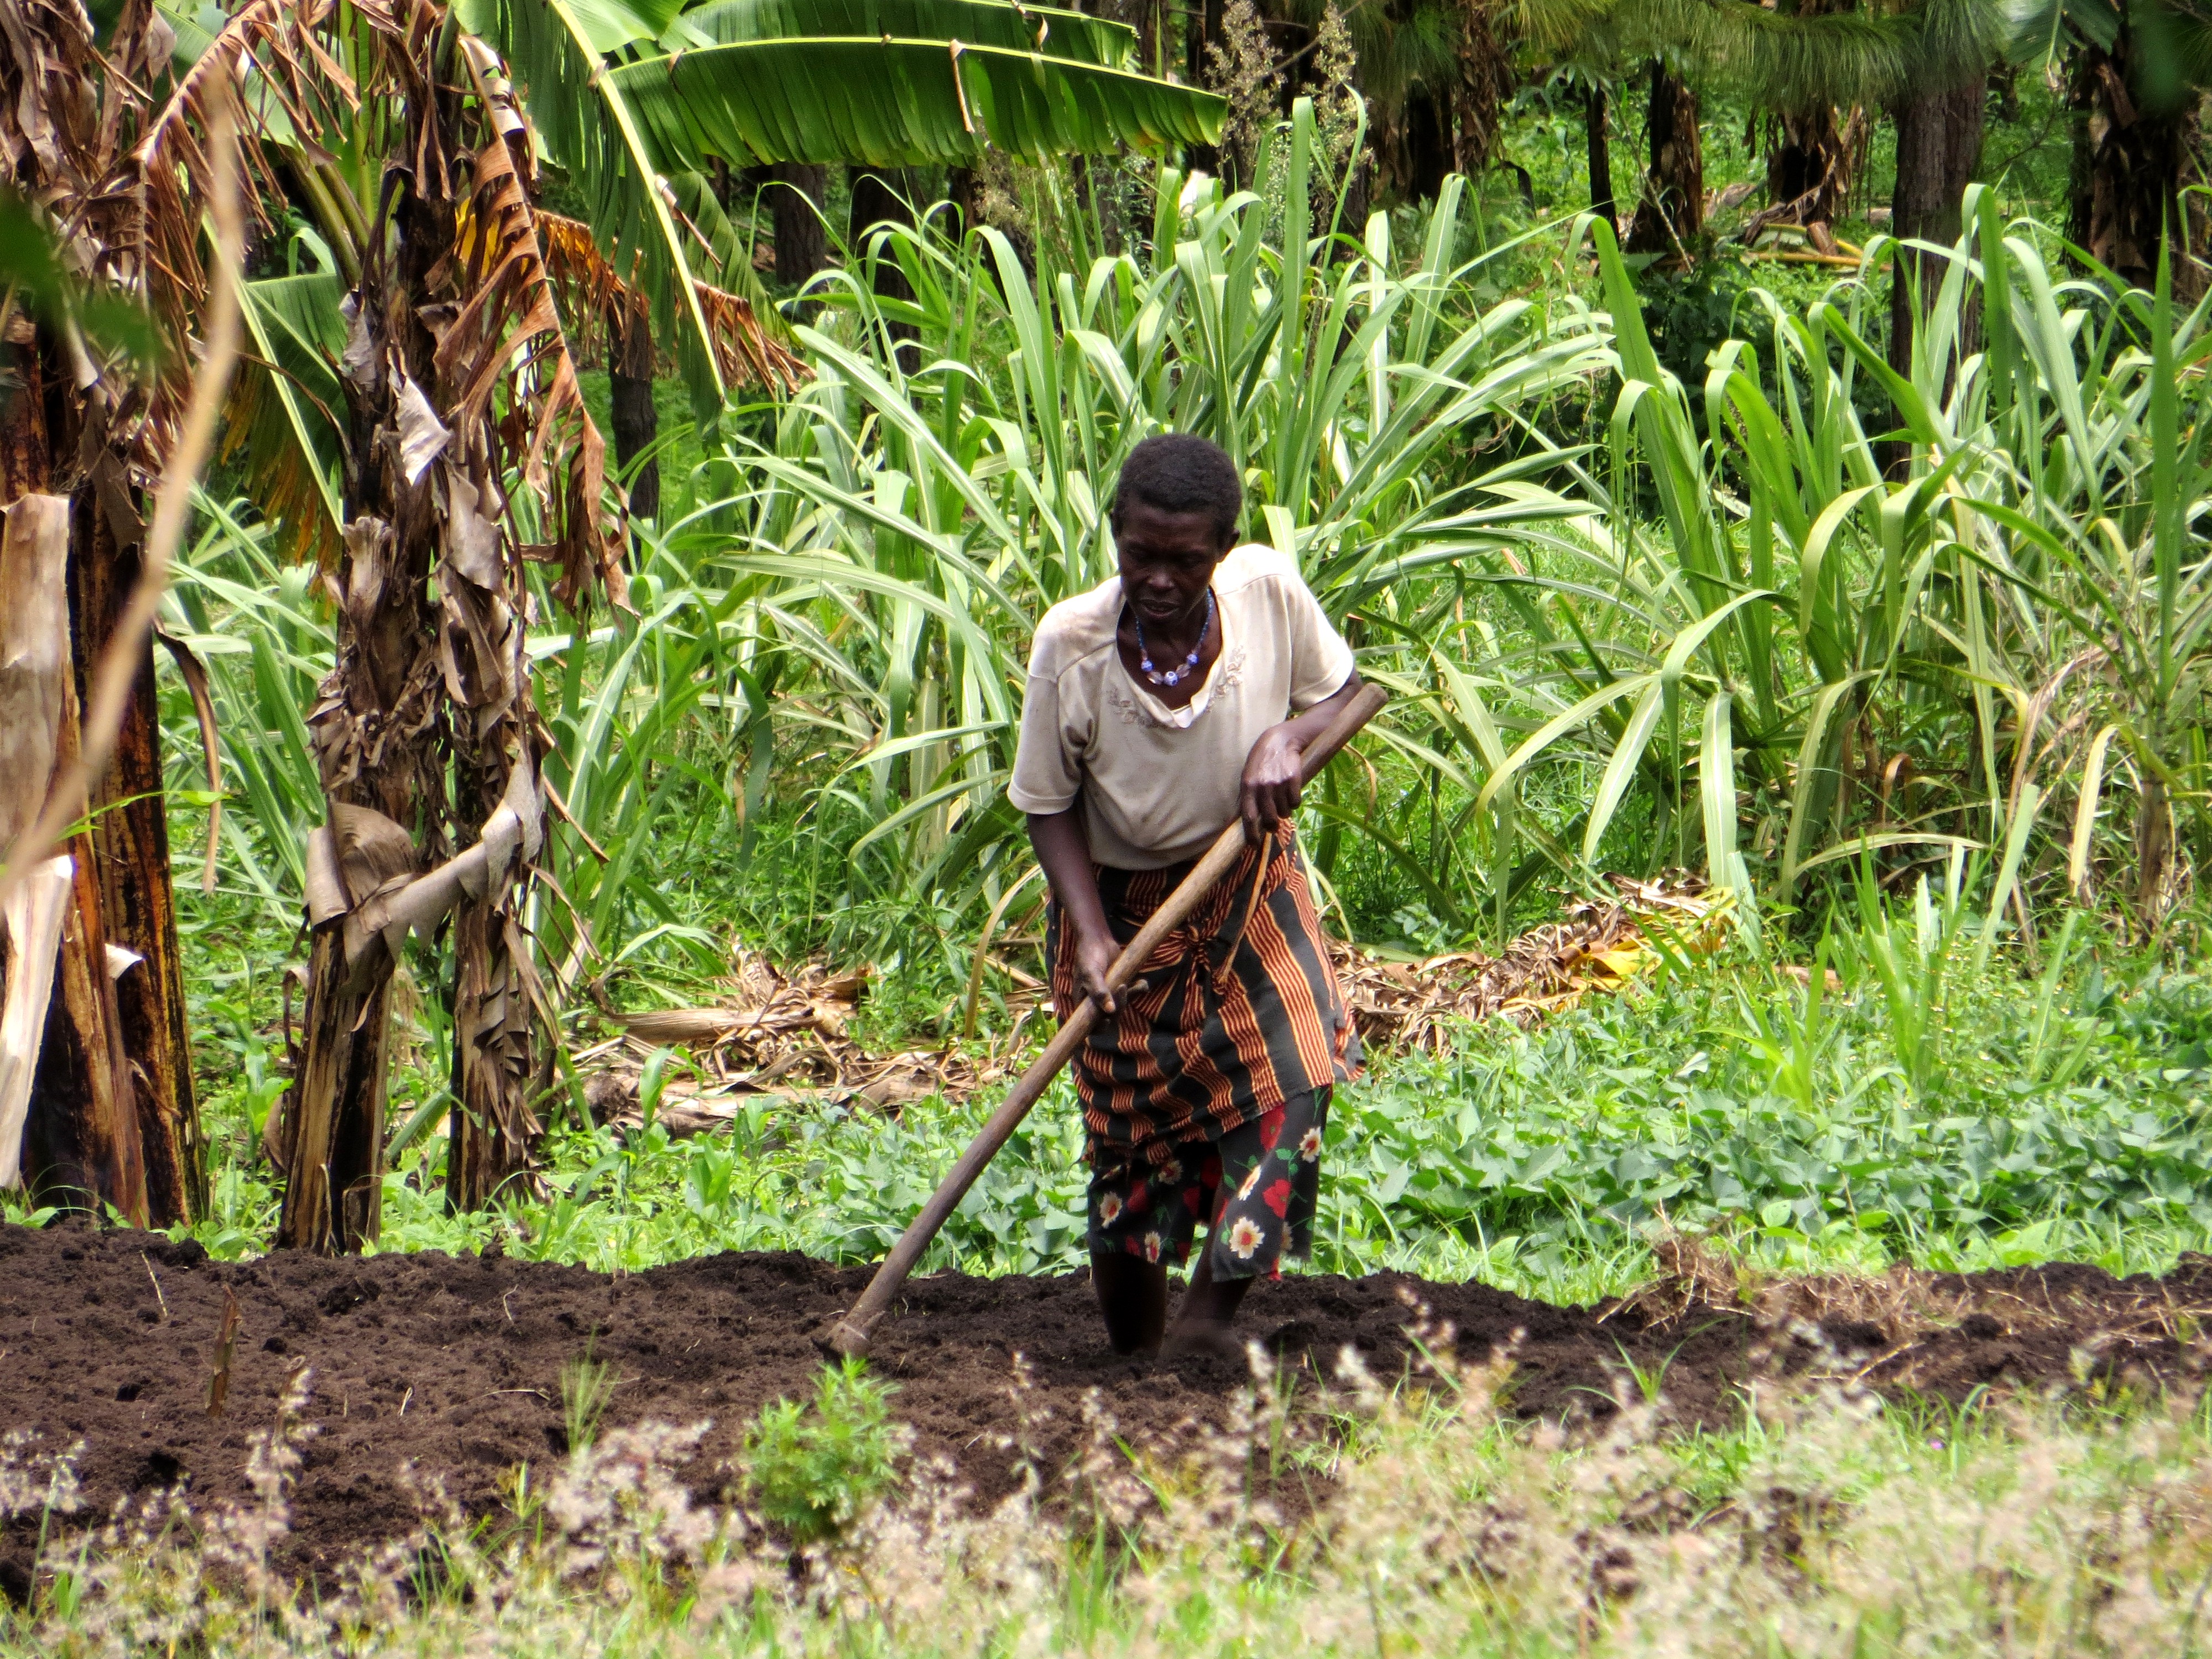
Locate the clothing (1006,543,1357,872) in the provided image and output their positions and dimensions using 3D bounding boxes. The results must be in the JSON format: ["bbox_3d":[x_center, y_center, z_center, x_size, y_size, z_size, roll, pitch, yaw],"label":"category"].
[{"bbox_3d":[0.142,-0.253,5.555,0.654,0.596,0.345,-13,47,-8],"label":"clothing"}]

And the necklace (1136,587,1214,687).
[{"bbox_3d":[0.128,-0.352,5.246,0.152,0.167,0.061,1,13,0],"label":"necklace"}]
